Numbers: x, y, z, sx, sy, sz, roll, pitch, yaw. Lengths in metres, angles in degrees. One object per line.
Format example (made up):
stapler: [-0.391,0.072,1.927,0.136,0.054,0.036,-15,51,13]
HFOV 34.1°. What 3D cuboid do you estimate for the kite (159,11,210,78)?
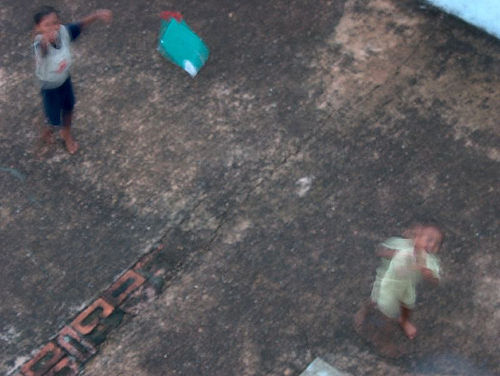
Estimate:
kite: [-0.986,-2.133,12.138,0.896,0.157,0.691,39,84,-2]

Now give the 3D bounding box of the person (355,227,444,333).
person: [2.119,1.257,11.251,0.877,1.818,0.815,13,23,-2]
